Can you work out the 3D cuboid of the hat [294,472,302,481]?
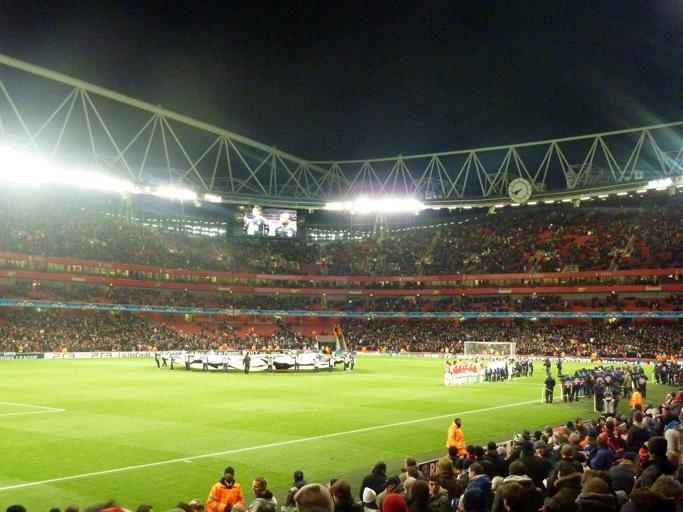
[{"bbox_3d":[-1.197,6.333,19.037,0.249,0.359,0.242,2,-2,-1],"label":"hat"}]

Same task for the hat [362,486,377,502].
[{"bbox_3d":[0.750,6.535,18.081,0.304,0.373,0.328,14,-42,12],"label":"hat"}]
